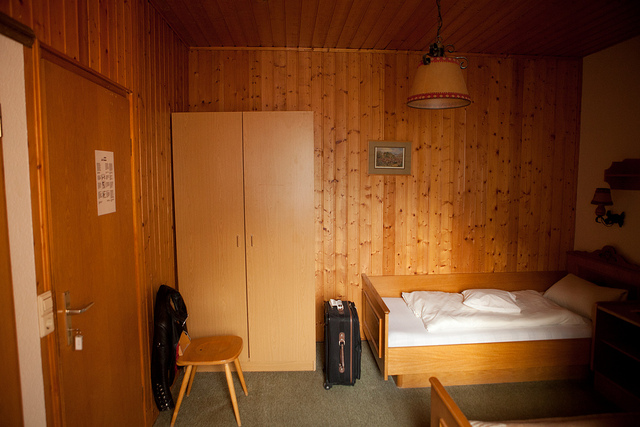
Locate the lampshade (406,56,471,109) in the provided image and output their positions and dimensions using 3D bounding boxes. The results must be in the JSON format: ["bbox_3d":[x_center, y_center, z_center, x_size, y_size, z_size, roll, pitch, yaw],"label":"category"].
[{"bbox_3d":[0.971,-1.060,3.821,0.495,0.349,0.483,-1,2,-38],"label":"lampshade"}]

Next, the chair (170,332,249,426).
[{"bbox_3d":[-0.917,1.551,4.554,0.727,1.133,0.704,0,0,0],"label":"chair"}]

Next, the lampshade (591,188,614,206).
[{"bbox_3d":[2.962,-0.165,4.889,0.205,0.193,0.154,-4,5,-24],"label":"lampshade"}]

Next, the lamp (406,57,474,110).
[{"bbox_3d":[0.936,-0.987,3.744,0.423,0.476,0.431,-4,12,-14],"label":"lamp"}]

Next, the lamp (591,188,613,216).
[{"bbox_3d":[2.955,-0.113,4.934,0.220,0.335,0.201,7,16,34],"label":"lamp"}]

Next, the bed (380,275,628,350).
[{"bbox_3d":[1.681,1.040,4.634,1.834,0.473,0.967,0,11,0],"label":"bed"}]

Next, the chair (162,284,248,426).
[{"bbox_3d":[-1.057,1.260,4.358,0.706,1.257,0.736,-3,4,-10],"label":"chair"}]

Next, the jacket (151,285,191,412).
[{"bbox_3d":[-1.338,1.198,4.152,0.338,1.086,0.208,-5,5,-31],"label":"jacket"}]
